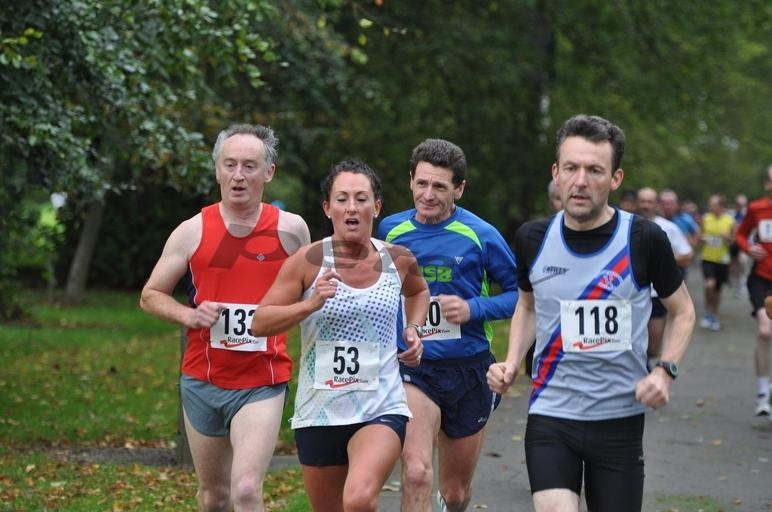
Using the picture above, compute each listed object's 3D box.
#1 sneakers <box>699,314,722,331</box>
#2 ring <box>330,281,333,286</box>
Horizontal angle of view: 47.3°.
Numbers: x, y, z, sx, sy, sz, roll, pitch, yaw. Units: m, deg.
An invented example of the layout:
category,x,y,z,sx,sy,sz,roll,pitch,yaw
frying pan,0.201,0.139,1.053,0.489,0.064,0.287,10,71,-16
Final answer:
category,x,y,z,sx,sy,sz,roll,pitch,yaw
sneakers,5.733,1.189,15.633,0.190,0.308,0.410,-3,6,-39
ring,-0.356,0.177,5.887,0.023,0.024,0.024,9,32,-6
